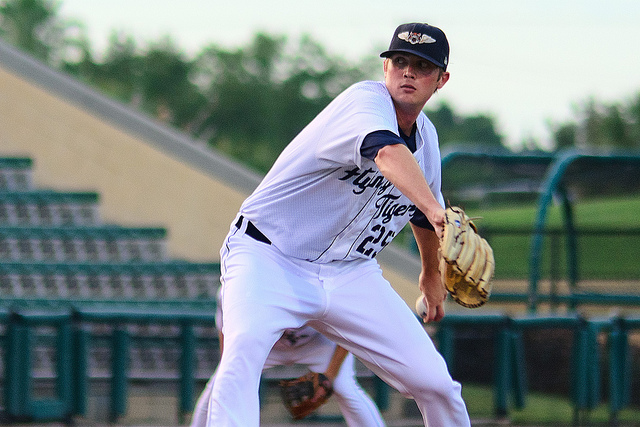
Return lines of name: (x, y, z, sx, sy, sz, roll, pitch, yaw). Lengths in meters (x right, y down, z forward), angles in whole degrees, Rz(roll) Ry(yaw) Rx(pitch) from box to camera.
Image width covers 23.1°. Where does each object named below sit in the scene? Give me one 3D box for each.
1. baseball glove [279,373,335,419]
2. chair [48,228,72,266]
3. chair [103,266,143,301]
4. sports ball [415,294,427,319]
baseball glove: (-0.154, 2.286, 19.530, 0.671, 0.544, 0.216, 0, -10, -6)
chair: (-3.683, 0.452, 22.302, 0.297, 0.443, 0.243, 0, -11, -9)
chair: (-2.796, 0.992, 22.474, 0.402, 0.539, 0.294, -15, 18, -41)
sports ball: (1.270, 1.182, 19.775, 0.135, 0.252, 0.191, 7, -8, 13)
